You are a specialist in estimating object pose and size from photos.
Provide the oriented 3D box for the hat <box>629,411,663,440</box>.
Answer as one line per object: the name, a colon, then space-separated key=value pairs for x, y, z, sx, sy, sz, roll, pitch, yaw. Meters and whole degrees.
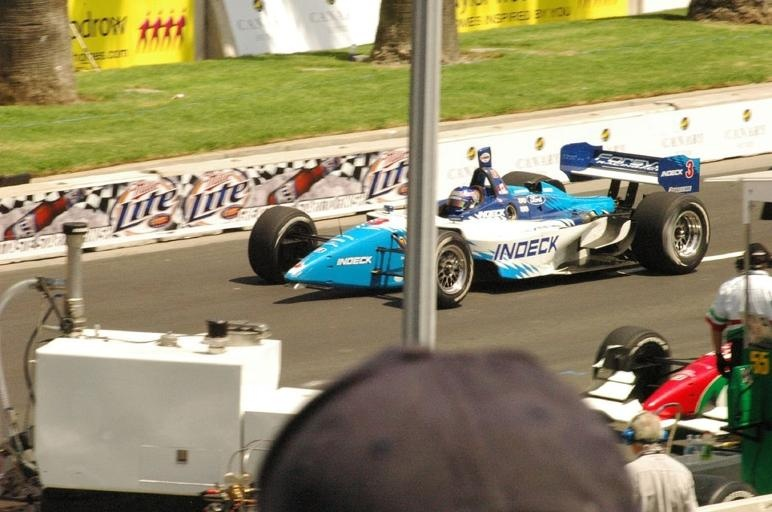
hat: x=2.846 y=1.890 z=16.296 sx=0.348 sy=0.226 sz=0.349 roll=0 pitch=13 yaw=2
